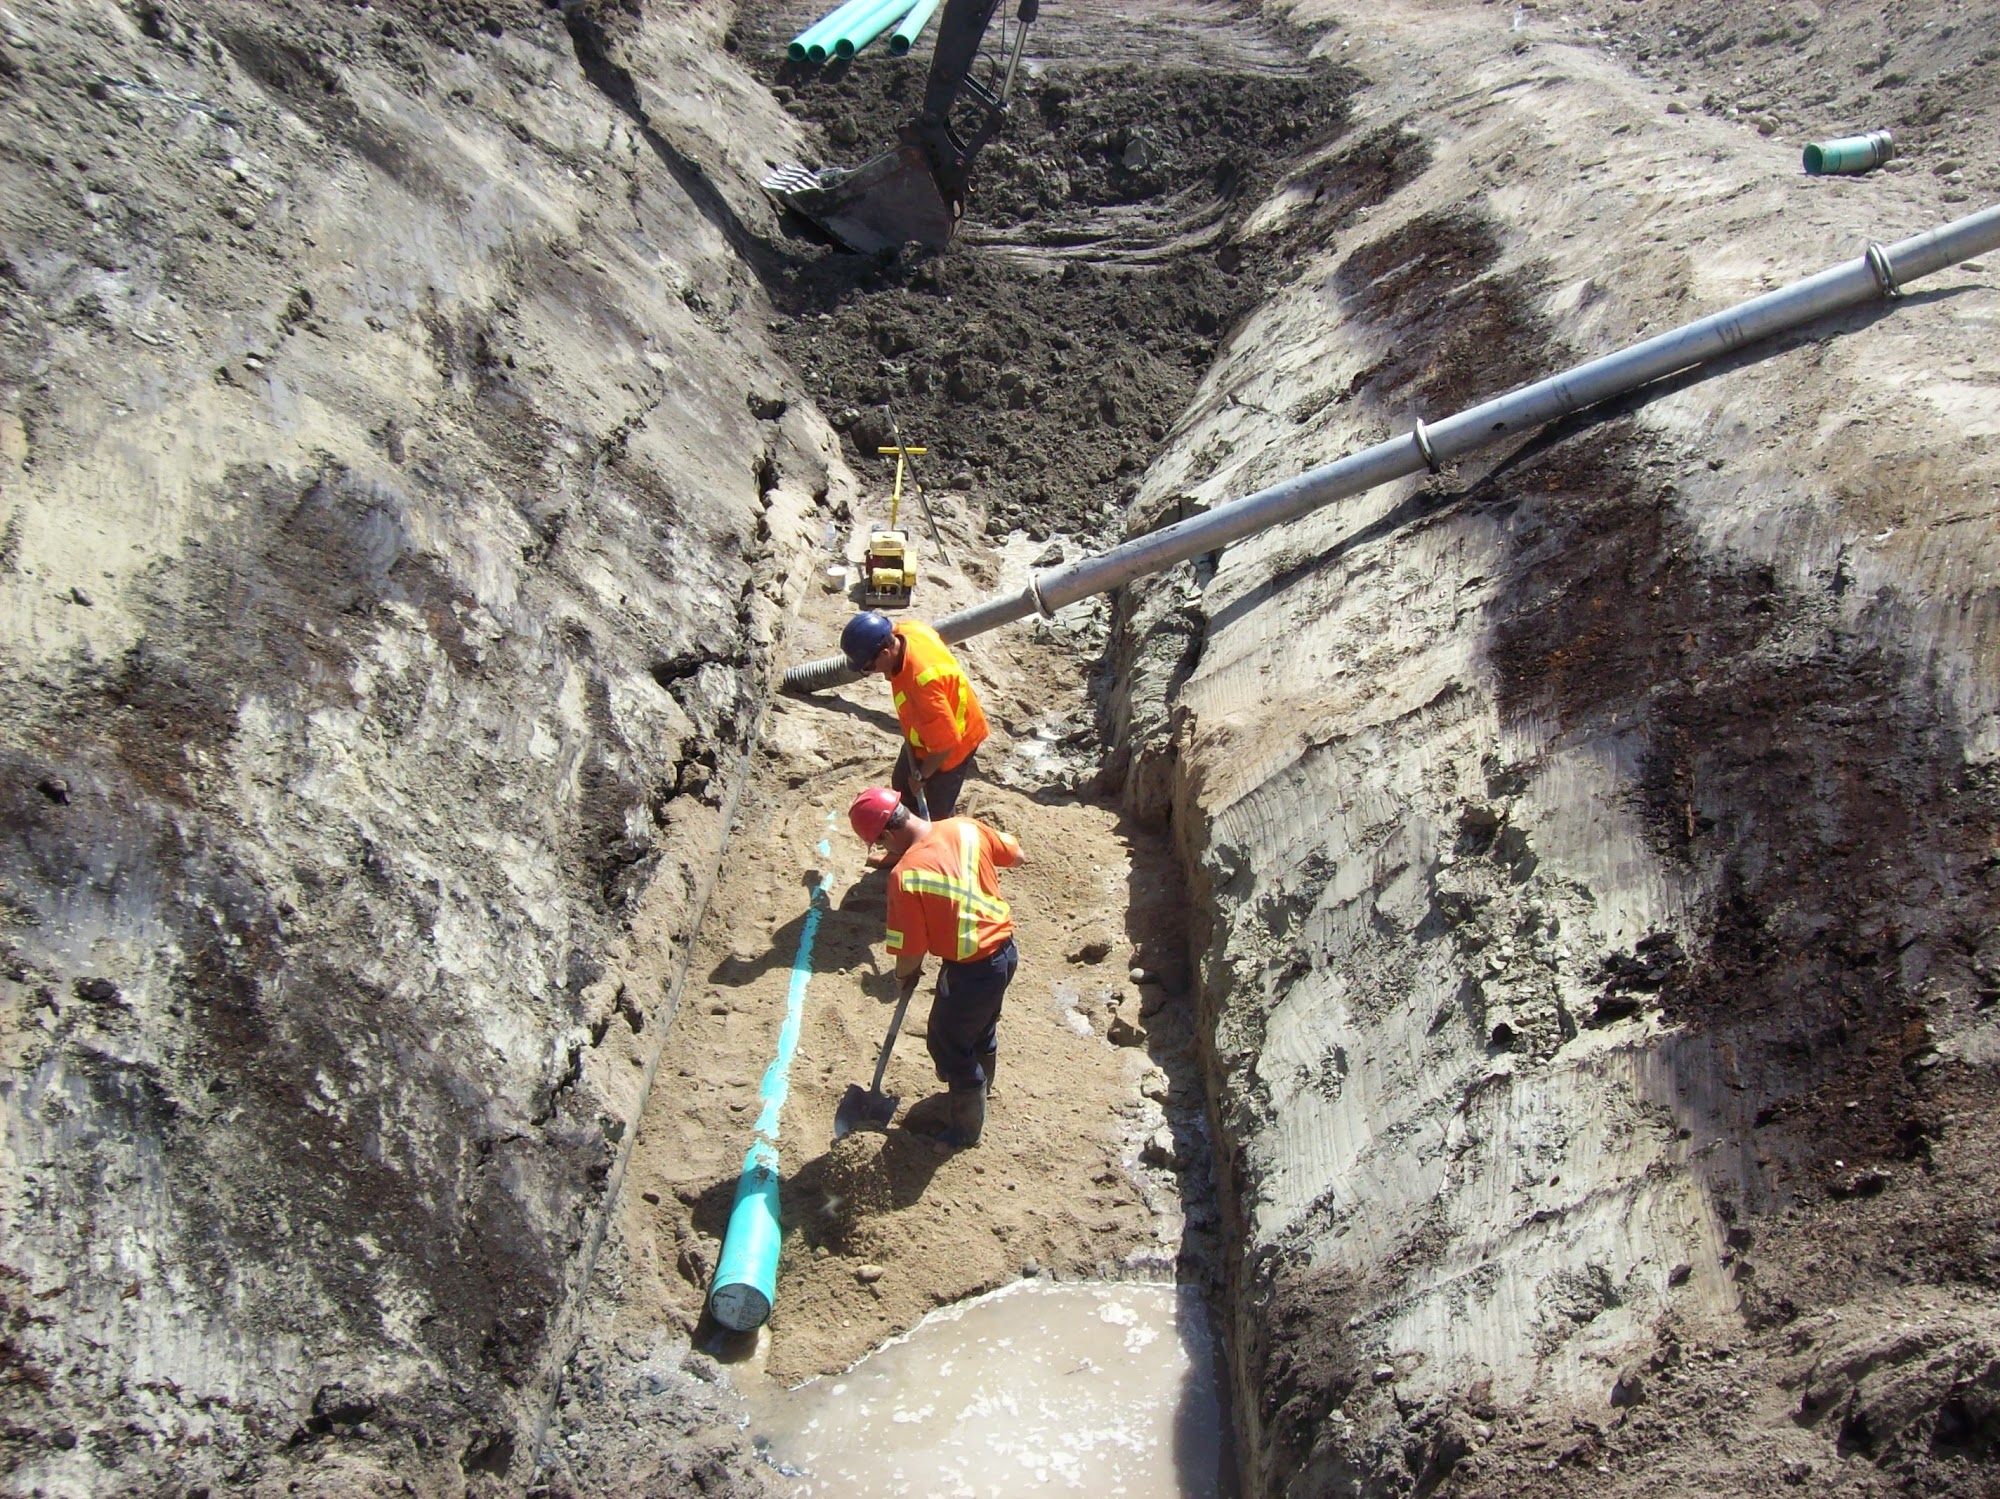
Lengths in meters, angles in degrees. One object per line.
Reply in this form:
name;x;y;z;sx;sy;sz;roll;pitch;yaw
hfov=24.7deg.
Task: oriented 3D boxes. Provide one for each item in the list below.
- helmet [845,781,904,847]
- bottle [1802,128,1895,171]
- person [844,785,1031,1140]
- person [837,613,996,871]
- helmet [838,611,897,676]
helmet;-0.707;0.393;26.984;0.180;0.347;0.259;22;-1;-36
bottle;5.498;-3.866;29.378;0.604;0.334;0.403;5;4;-11
person;-0.335;1.155;26.709;1.007;2.076;0.921;4;29;15
person;-0.463;-0.233;27.851;1.197;0.993;2.350;2;-24;1
helmet;-0.787;-0.679;27.547;0.289;0.354;0.280;23;0;33
